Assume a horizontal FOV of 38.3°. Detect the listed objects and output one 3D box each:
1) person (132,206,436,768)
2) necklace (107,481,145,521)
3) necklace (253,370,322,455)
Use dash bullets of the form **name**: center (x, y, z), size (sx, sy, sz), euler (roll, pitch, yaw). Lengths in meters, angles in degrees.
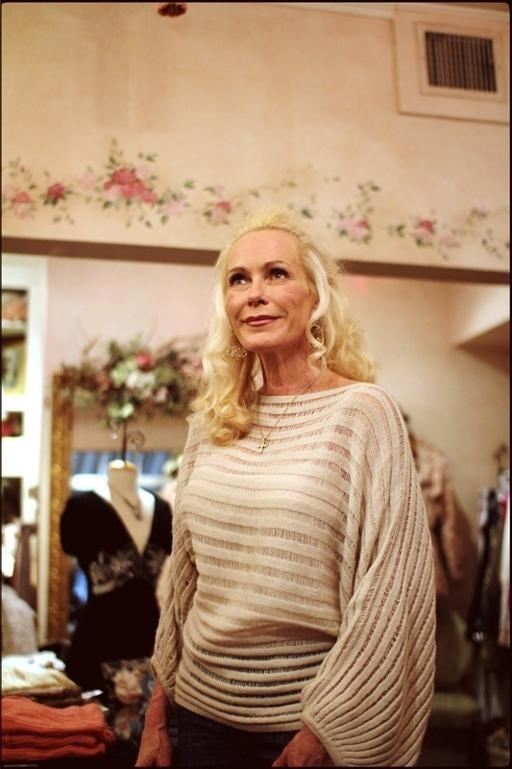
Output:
- **person**: center (0.053, 0.184, 1.472), size (0.572, 1.116, 0.366), euler (-4, -3, 37)
- **necklace**: center (-0.364, 0.309, 2.058), size (0.092, 0.114, 0.031), euler (-7, 14, -1)
- **necklace**: center (0.069, 0.060, 1.487), size (0.036, 0.205, 0.032), euler (5, -40, 53)
